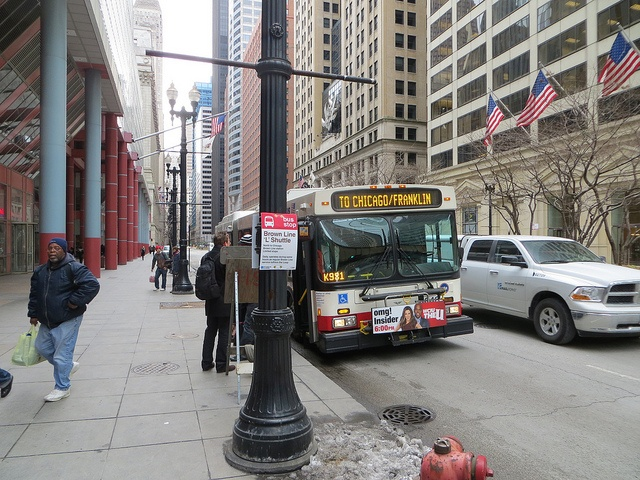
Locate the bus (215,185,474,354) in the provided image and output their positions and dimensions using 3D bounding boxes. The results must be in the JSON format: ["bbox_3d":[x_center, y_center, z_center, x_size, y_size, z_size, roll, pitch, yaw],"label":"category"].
[{"bbox_3d":[1.146,-0.539,13.650,3.245,3.456,7.055,-5,20,-1],"label":"bus"}]

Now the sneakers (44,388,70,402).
[{"bbox_3d":[-4.053,2.415,8.213,0.138,0.171,0.389,0,-10,33],"label":"sneakers"}]

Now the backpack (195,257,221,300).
[{"bbox_3d":[-2.042,0.690,9.435,0.482,0.710,0.366,9,17,26],"label":"backpack"}]

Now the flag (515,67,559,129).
[{"bbox_3d":[8.569,-5.600,20.834,0.606,2.008,1.501,-3,7,-28],"label":"flag"}]

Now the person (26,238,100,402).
[{"bbox_3d":[-3.992,1.220,8.239,1.032,2.489,0.533,-1,6,-12],"label":"person"}]

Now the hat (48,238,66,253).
[{"bbox_3d":[-4.073,0.083,8.256,0.203,0.235,0.281,2,-1,7],"label":"hat"}]

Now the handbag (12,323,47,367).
[{"bbox_3d":[-4.579,1.605,8.287,0.285,0.569,0.414,18,-3,38],"label":"handbag"}]

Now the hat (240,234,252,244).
[{"bbox_3d":[-1.611,-0.001,11.516,0.358,0.204,0.526,1,0,-3],"label":"hat"}]
